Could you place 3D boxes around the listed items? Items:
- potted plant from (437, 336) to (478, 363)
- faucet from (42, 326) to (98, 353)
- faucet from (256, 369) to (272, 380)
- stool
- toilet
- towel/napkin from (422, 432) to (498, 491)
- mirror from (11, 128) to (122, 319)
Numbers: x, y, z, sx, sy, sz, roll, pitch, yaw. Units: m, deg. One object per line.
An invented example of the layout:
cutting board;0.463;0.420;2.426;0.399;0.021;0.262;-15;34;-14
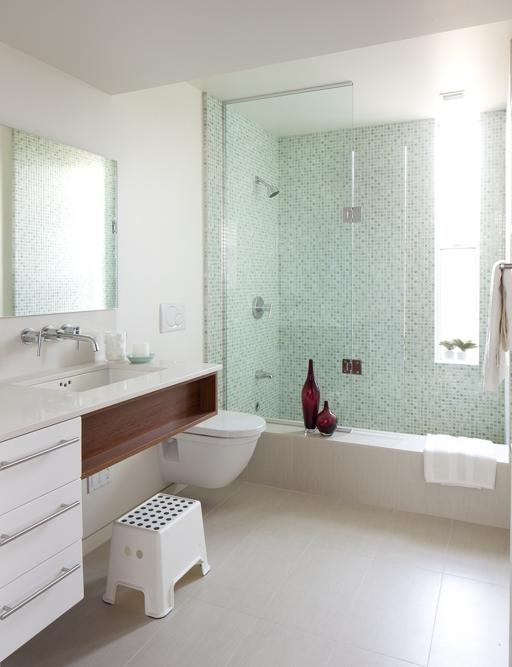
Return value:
potted plant;1.431;0.123;3.610;0.187;0.136;0.192;2;-5;17
faucet;-0.649;0.023;1.891;0.295;0.111;0.092;0;0;25
faucet;0.048;0.264;3.142;0.093;0.063;0.046;0;0;29
stool;-0.360;0.838;1.949;0.261;0.285;0.379;1;1;21
toilet;-0.212;0.574;2.624;0.528;0.354;0.382;0;3;21
towel/napkin;1.057;0.637;2.639;0.259;0.101;0.253;2;8;20
mirror;-0.752;-0.436;1.988;0.013;0.846;0.820;2;2;19
